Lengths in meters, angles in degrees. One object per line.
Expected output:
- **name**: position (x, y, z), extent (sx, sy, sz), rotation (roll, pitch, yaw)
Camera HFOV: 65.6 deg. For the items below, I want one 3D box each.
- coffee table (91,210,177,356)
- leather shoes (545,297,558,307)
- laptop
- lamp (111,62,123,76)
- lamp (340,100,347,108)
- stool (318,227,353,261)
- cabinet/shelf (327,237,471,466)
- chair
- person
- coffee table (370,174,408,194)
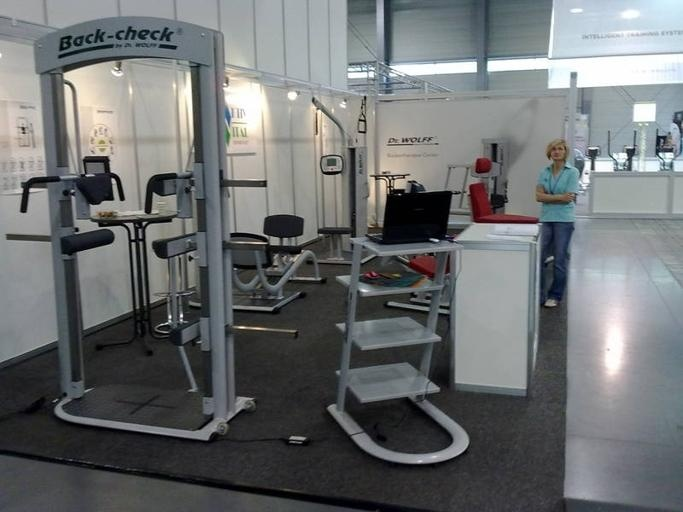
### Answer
- **coffee table**: position (-1.960, 0.188, 5.274), extent (0.807, 1.255, 0.864), rotation (-20, -17, 40)
- **leather shoes**: position (2.386, 0.534, 6.063), extent (0.132, 0.083, 0.051), rotation (-6, -3, -39)
- **laptop**: position (0.472, -0.260, 3.526), extent (0.537, 0.348, 0.349), rotation (-2, 11, -22)
- **lamp**: position (-2.346, -1.977, 5.558), extent (0.120, 0.141, 0.457), rotation (-6, 14, -20)
- **lamp**: position (0.041, -3.182, 11.058), extent (0.182, 0.168, 0.106), rotation (-3, 10, -15)
- **stool**: position (-0.107, -0.224, 8.588), extent (0.638, 0.615, 0.631), rotation (0, 5, 6)
- **cabinet/shelf**: position (0.361, 0.530, 3.643), extent (0.965, 1.277, 1.195), rotation (0, 13, 4)
- **chair**: position (1.921, -0.802, 6.301), extent (0.766, 0.834, 0.497), rotation (-3, 11, 30)
- **person**: position (2.341, -0.326, 5.841), extent (0.408, 1.877, 0.863), rotation (4, 14, 23)
- **coffee table**: position (0.955, -1.482, 10.230), extent (0.781, 0.535, 0.769), rotation (-1, 9, -1)
